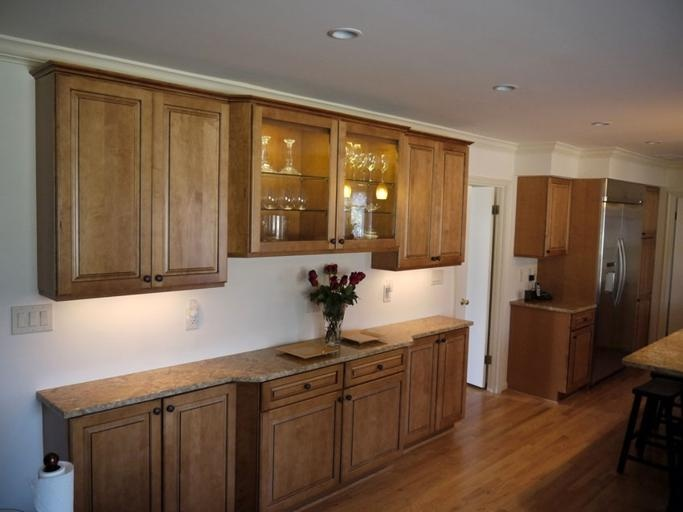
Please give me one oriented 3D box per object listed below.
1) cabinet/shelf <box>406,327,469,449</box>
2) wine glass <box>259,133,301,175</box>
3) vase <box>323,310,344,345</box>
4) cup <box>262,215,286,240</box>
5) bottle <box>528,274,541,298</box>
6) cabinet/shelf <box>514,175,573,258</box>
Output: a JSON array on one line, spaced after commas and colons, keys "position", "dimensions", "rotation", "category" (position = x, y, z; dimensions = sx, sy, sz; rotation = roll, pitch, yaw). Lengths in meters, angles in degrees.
[{"position": [0.799, 1.103, 4.722], "dimensions": [0.406, 0.925, 0.968], "rotation": [4, 7, 41], "category": "cabinet/shelf"}, {"position": [-0.409, -0.677, 3.755], "dimensions": [0.204, 0.264, 0.406], "rotation": [5, 8, 41], "category": "wine glass"}, {"position": [-0.062, 0.524, 4.201], "dimensions": [0.139, 0.255, 0.183], "rotation": [1, 10, -1], "category": "vase"}, {"position": [-0.449, -0.196, 3.768], "dimensions": [0.161, 0.176, 0.173], "rotation": [1, 3, 0], "category": "cup"}, {"position": [2.170, 0.337, 6.258], "dimensions": [0.056, 0.232, 0.234], "rotation": [1, -1, 33], "category": "bottle"}, {"position": [2.226, -0.432, 6.002], "dimensions": [0.707, 0.864, 0.364], "rotation": [-3, 11, -24], "category": "cabinet/shelf"}]
